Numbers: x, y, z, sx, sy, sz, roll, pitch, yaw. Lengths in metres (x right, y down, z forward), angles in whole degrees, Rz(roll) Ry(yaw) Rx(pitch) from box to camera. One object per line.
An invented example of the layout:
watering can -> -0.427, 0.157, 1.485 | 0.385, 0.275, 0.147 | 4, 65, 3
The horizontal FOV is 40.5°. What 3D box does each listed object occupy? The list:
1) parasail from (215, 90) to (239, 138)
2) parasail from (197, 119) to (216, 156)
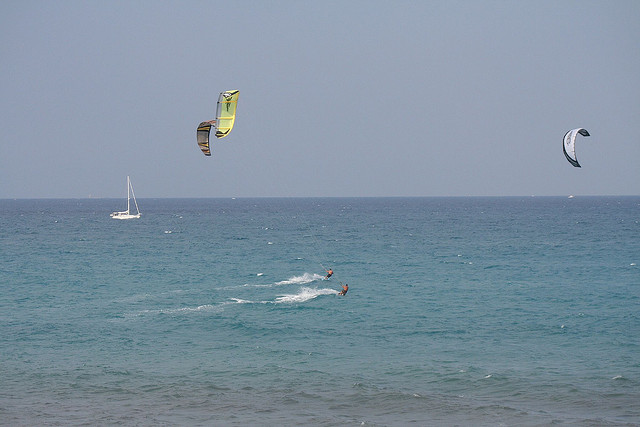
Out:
parasail -> -8.927, -9.192, 81.129 | 2.145, 4.228, 1.365 | -2, 15, -6
parasail -> -10.689, -6.923, 80.359 | 1.542, 3.170, 1.591 | -3, 15, -11
